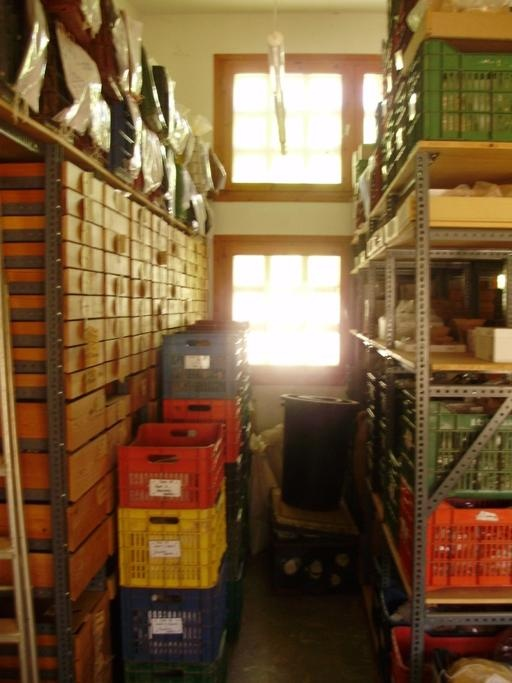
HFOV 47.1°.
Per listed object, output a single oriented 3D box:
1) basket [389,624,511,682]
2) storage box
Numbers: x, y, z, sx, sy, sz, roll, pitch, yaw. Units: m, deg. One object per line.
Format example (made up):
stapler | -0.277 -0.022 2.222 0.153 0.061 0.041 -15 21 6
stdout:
basket | 0.691 1.122 2.212 0.272 0.092 0.281 -1 -2 5
storage box | 0.322 1.124 3.333 0.316 0.277 0.582 0 1 3
